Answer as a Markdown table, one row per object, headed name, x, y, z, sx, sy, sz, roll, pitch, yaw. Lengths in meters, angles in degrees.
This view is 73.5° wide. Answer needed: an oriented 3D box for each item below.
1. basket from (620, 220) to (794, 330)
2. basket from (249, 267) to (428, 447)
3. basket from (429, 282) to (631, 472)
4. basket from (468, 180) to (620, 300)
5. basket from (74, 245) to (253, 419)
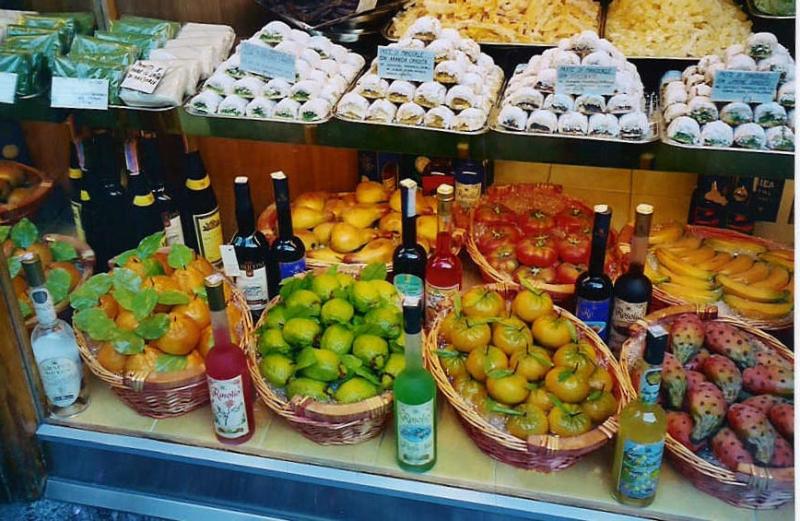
| name | x | y | z | sx | sy | sz | roll | pitch | yaw |
| --- | --- | --- | --- | --- | --- | --- | --- | --- | --- |
| basket | 1.069 | 0.079 | 1.868 | 0.450 | 0.126 | 0.432 | -2 | 35 | -4 |
| basket | -0.224 | 0.300 | 1.684 | 0.475 | 0.409 | 0.449 | -3 | 27 | 1 |
| basket | 0.299 | 0.392 | 1.558 | 0.436 | 0.171 | 0.529 | -18 | 41 | -19 |
| basket | 0.507 | -0.097 | 2.046 | 0.480 | 0.137 | 0.461 | -3 | 35 | -2 |
| basket | -0.801 | 0.223 | 1.870 | 0.560 | 0.387 | 0.589 | -8 | 44 | -13 |
